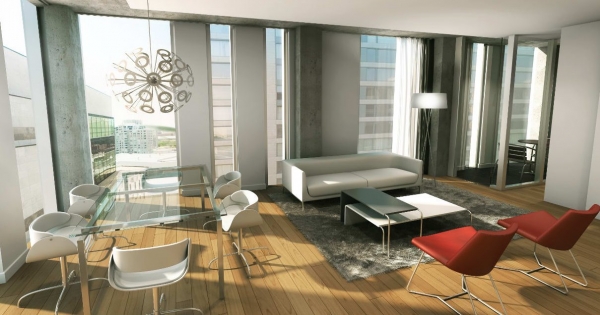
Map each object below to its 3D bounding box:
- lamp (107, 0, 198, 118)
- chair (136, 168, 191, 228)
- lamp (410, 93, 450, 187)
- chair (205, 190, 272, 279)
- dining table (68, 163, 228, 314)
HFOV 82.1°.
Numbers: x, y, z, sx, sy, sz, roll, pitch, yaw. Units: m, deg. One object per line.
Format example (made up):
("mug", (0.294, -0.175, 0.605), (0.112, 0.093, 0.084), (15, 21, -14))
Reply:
("lamp", (-2.901, -2.010, 6.861), (1.313, 2.276, 1.880), (-4, 14, -4))
("chair", (-2.592, 0.675, 6.540), (1.254, 1.202, 1.076), (-1, 6, -17))
("lamp", (3.648, -0.654, 9.775), (0.991, 2.098, 0.892), (5, 9, 32))
("chair", (-1.674, 1.353, 6.927), (1.743, 1.384, 1.440), (-1, 8, -21))
("dining table", (-2.530, 1.813, 6.774), (2.661, 1.428, 3.540), (-1, 10, -15))
